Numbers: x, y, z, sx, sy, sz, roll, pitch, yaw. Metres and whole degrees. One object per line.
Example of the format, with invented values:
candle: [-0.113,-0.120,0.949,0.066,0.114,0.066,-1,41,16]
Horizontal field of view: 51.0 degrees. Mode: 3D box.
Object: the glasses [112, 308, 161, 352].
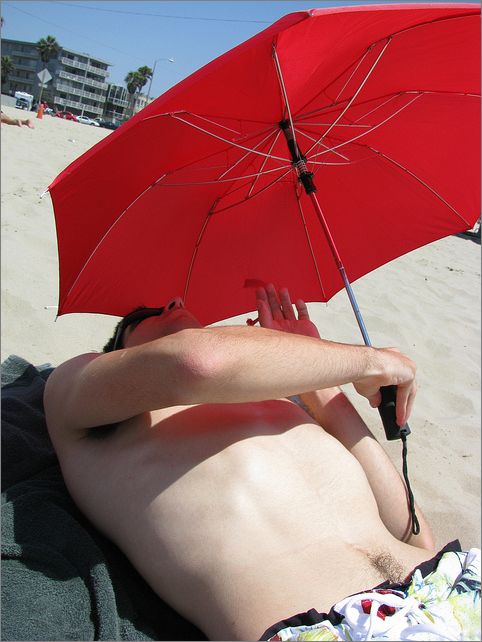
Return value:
glasses: [-0.341,0.026,1.793,0.136,0.182,0.071,4,-40,41]
